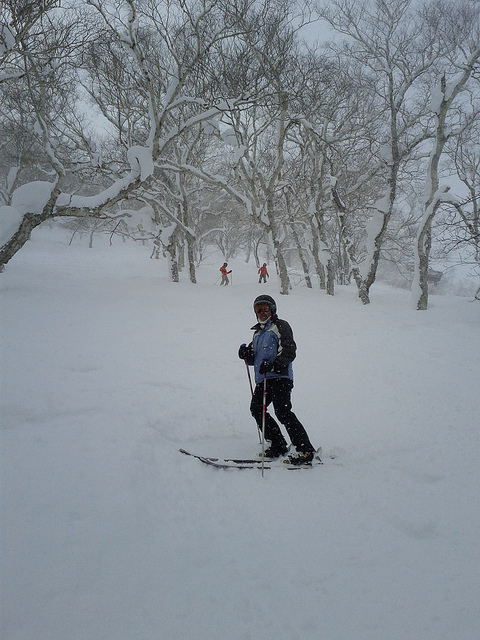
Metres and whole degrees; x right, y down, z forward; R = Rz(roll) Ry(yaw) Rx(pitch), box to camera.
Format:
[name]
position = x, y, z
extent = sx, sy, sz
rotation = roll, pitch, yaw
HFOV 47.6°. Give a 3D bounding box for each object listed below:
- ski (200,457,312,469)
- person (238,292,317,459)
[ski]
position = 0.149, 1.348, 5.110
extent = 0.680, 0.075, 0.082
rotation = 6, -8, -3
[person]
position = 0.351, 0.617, 5.392
extent = 0.530, 1.603, 0.923
rotation = -5, 13, -32
